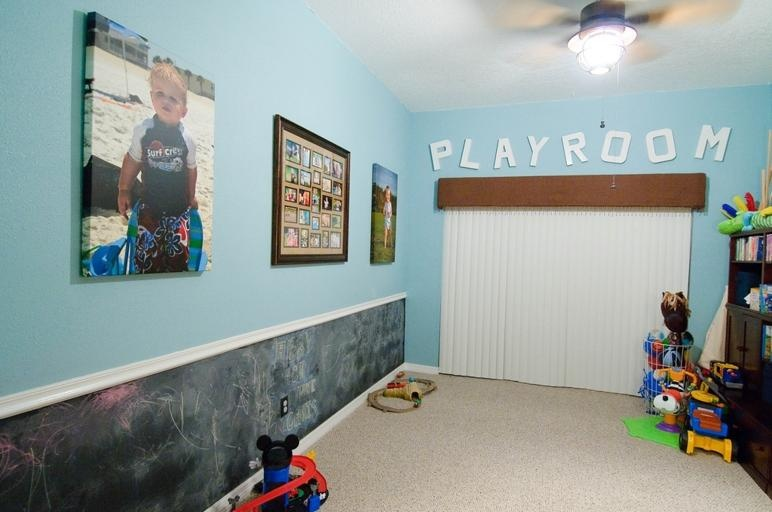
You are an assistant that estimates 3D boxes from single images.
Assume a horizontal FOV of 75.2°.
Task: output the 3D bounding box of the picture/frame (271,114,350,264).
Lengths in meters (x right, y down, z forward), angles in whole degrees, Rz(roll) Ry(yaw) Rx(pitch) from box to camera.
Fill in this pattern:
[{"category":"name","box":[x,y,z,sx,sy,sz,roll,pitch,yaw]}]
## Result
[{"category":"picture/frame","box":[-0.598,-0.515,3.791,0.086,1.176,1.169,0,-2,27]}]
